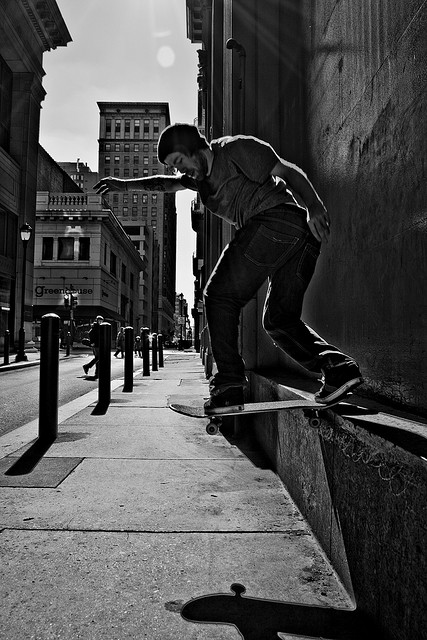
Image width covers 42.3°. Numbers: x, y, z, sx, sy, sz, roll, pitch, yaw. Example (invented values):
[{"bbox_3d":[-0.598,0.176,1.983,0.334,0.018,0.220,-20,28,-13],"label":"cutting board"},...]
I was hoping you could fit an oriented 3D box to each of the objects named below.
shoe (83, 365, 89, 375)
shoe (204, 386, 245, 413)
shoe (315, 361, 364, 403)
[{"bbox_3d":[-2.990,1.160,12.940,0.078,0.195,0.545,0,-2,-15],"label":"shoe"},{"bbox_3d":[0.057,0.427,2.907,0.191,0.211,0.112,1,-6,16],"label":"shoe"},{"bbox_3d":[0.570,0.280,2.492,0.070,0.163,0.213,-14,-16,-44],"label":"shoe"}]
